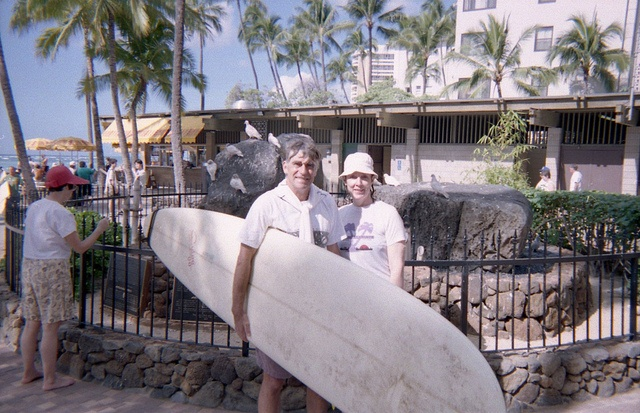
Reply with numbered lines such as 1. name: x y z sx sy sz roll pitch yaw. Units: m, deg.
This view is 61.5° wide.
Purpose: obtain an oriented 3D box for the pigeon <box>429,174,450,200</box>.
1. pigeon: 2.226 -0.385 10.063 0.341 0.455 0.505 -1 4 12

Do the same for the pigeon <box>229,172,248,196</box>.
1. pigeon: -1.664 -0.474 10.666 0.237 0.346 0.408 -29 38 -15

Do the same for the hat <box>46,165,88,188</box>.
1. hat: -3.456 -0.393 7.352 0.459 0.241 0.297 4 5 -38

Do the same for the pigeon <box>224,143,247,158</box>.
1. pigeon: -1.813 -1.192 11.255 0.190 0.207 0.412 -32 18 -15

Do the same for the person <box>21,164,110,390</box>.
1. person: -3.596 0.964 7.286 1.048 3.043 0.402 -2 4 -12
